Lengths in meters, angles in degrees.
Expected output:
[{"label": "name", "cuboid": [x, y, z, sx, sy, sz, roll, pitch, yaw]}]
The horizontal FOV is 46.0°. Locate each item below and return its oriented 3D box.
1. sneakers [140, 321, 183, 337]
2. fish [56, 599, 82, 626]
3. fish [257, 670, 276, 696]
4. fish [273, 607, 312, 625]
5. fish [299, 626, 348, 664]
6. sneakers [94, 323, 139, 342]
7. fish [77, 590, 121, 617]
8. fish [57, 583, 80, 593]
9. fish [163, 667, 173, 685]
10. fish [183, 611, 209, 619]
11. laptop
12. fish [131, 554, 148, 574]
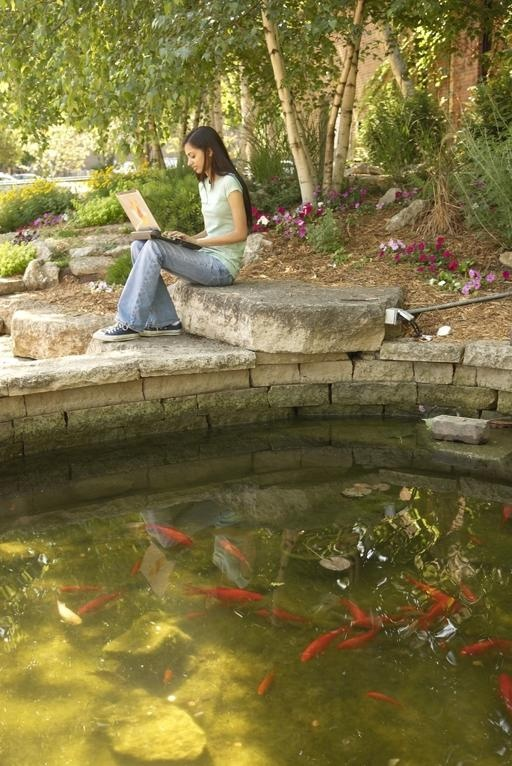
[{"label": "sneakers", "cuboid": [-0.663, -0.379, 4.235, 0.281, 0.108, 0.101, 1, -2, -20]}, {"label": "fish", "cuboid": [-0.582, 0.714, 1.881, 0.035, 0.043, 0.104, -36, 33, -16]}, {"label": "fish", "cuboid": [0.023, 0.768, 1.541, 0.017, 0.016, 0.057, -18, 12, 23]}, {"label": "fish", "cuboid": [0.101, 0.703, 1.820, 0.155, 0.032, 0.041, 4, -17, 39]}, {"label": "fish", "cuboid": [0.181, 0.720, 1.688, 0.178, 0.037, 0.048, -10, 14, -37]}, {"label": "sneakers", "cuboid": [-0.931, -0.329, 3.993, 0.263, 0.102, 0.132, 3, 4, -17]}, {"label": "fish", "cuboid": [-0.503, 0.701, 1.921, 0.061, 0.013, 0.157, 6, 14, 36]}, {"label": "fish", "cuboid": [-0.617, 0.685, 2.015, 0.093, 0.006, 0.044, 0, 11, 9]}, {"label": "fish", "cuboid": [-0.232, 0.766, 1.577, 0.010, 0.012, 0.029, 6, 23, 4]}, {"label": "fish", "cuboid": [-0.184, 0.705, 1.836, 0.072, 0.006, 0.038, -6, 12, -22]}, {"label": "laptop", "cuboid": [-0.660, -1.097, 4.072, 0.460, 0.380, 0.398, 7, 15, 21]}, {"label": "fish", "cuboid": [-0.426, 0.655, 2.169, 0.013, 0.016, 0.050, 7, 22, 12]}]
